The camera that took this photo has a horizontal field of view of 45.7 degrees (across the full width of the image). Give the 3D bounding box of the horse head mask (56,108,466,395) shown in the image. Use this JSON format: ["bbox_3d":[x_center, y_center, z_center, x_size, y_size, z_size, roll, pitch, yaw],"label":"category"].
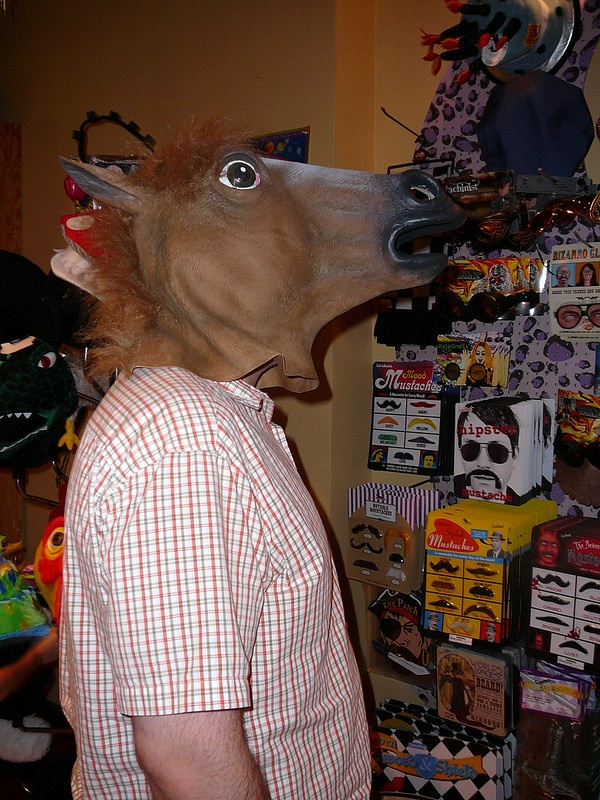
[{"bbox_3d":[-0.039,-0.172,0.845,0.504,0.280,0.213,-10,14,-21],"label":"horse head mask"}]
